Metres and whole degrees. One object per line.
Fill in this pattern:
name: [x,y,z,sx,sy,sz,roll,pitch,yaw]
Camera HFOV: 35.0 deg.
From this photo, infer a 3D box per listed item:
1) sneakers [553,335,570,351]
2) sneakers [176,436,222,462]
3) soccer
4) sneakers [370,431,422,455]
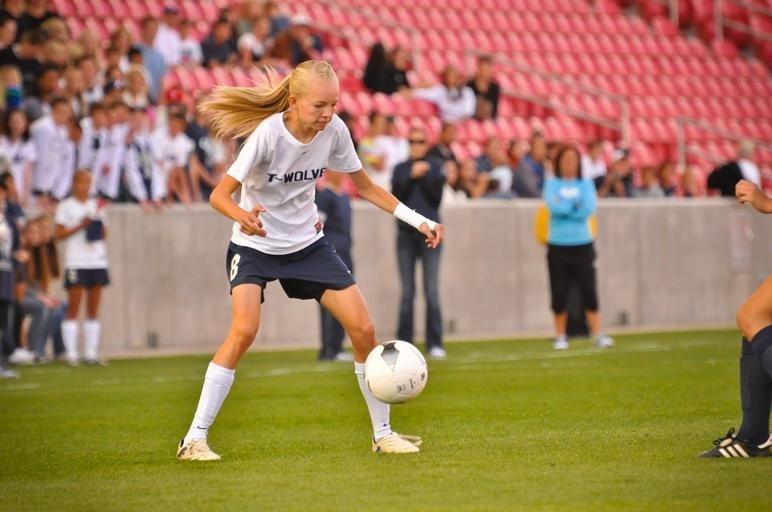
sneakers: [1.446,0.719,10.147,0.114,0.088,0.200,0,-4,-2]
sneakers: [-1.425,1.469,9.265,0.282,0.126,0.154,-1,-6,20]
soccer: [0.066,0.903,9.448,0.474,0.459,0.245,-2,9,-3]
sneakers: [0.072,1.434,9.422,0.303,0.111,0.169,-2,1,15]
